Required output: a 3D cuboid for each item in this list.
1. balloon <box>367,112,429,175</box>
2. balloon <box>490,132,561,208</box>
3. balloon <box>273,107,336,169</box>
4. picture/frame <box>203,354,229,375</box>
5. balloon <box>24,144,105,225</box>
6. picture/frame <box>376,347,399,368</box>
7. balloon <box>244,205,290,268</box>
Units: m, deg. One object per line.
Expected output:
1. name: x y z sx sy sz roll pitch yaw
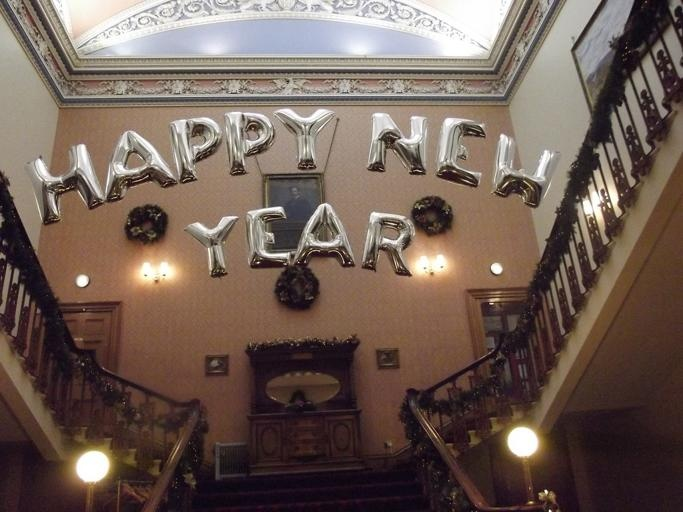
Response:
1. balloon: 0.702 -1.545 6.794 0.759 1.105 0.456 -1 -38 -6
2. balloon: 2.236 -1.088 6.826 0.842 0.907 0.329 16 -10 -2
3. balloon: -0.469 -1.559 6.768 0.737 1.060 0.402 -4 -38 -3
4. picture/frame: -2.219 1.924 9.248 0.304 0.300 0.036 2 -28 -7
5. balloon: -3.360 -0.898 6.474 0.935 0.961 0.324 -20 -8 -12
6. picture/frame: 0.827 1.843 9.466 0.300 0.298 0.049 0 -22 -1
7. balloon: -0.931 -0.220 6.610 0.519 0.797 0.267 -4 -20 -6
